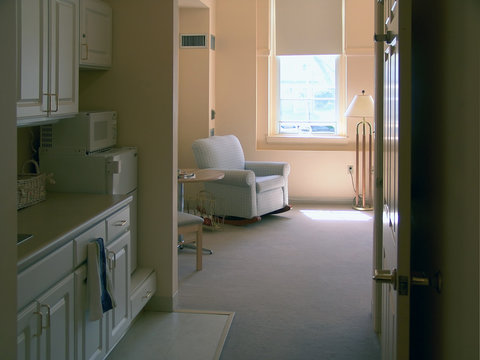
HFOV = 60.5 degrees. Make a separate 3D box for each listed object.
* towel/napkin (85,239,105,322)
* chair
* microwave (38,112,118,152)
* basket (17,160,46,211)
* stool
[{"bbox_3d":[-0.653,0.445,1.842,0.065,0.336,0.121,-3,8,-21],"label":"towel/napkin"},{"bbox_3d":[0.025,-0.054,5.087,0.793,1.092,1.121,-3,4,26],"label":"chair"},{"bbox_3d":[-0.996,-0.310,2.597,0.308,0.278,0.487,2,10,5],"label":"microwave"},{"bbox_3d":[-1.105,0.001,2.198,0.131,0.203,0.503,-4,11,-25],"label":"basket"},{"bbox_3d":[-0.414,0.487,3.472,0.201,0.467,0.472,-1,9,-7],"label":"stool"}]
